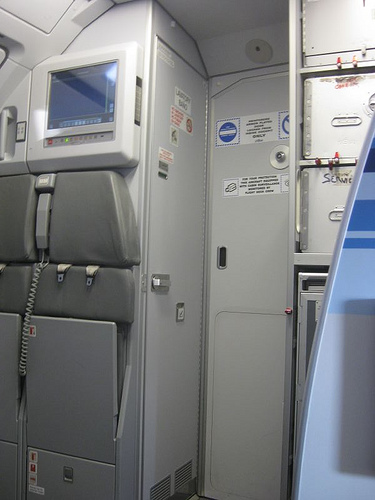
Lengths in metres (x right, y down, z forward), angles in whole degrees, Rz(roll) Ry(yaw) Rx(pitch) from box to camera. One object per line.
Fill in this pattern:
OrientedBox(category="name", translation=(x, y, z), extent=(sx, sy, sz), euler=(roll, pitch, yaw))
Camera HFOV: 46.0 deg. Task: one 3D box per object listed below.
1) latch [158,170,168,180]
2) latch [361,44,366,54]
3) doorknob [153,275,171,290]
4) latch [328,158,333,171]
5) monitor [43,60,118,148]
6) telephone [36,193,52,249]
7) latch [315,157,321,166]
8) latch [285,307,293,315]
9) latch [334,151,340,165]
OrientedBox(category="latch", translation=(-0.144, -0.436, 2.584), extent=(0.030, 0.044, 0.150), euler=(6, 2, 15))
OrientedBox(category="latch", translation=(0.838, -0.949, 2.091), extent=(0.021, 0.042, 0.009), euler=(3, 2, 14))
OrientedBox(category="doorknob", translation=(-0.141, 0.182, 2.544), extent=(0.022, 0.054, 0.224), euler=(3, 2, 22))
OrientedBox(category="latch", translation=(0.688, -0.408, 2.115), extent=(0.019, 0.049, 0.033), euler=(3, 2, 19))
OrientedBox(category="monitor", translation=(-0.579, -0.798, 2.448), extent=(0.411, 0.499, 0.046), euler=(-4, -11, 25))
OrientedBox(category="telephone", translation=(-0.823, -0.167, 2.513), extent=(0.081, 0.311, 0.084), euler=(2, 1, -8))
OrientedBox(category="latch", translation=(0.630, -0.424, 2.124), extent=(0.017, 0.032, 0.010), euler=(-3, 0, 1))
OrientedBox(category="latch", translation=(0.489, 0.288, 2.112), extent=(0.033, 0.033, 0.086), euler=(4, 2, 12))
OrientedBox(category="latch", translation=(0.718, -0.439, 2.101), extent=(0.021, 0.059, 0.036), euler=(4, 2, 33))
